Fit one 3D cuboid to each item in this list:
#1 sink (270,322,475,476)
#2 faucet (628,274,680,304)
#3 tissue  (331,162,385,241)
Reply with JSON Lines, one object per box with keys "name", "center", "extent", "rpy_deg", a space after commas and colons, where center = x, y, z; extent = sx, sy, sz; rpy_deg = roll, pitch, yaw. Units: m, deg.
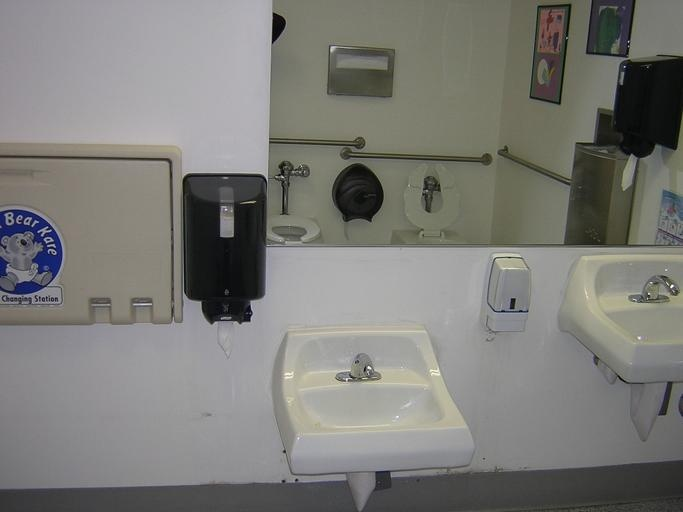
{"name": "sink", "center": [0.070, 0.402, 1.709], "extent": [0.535, 0.290, 0.383], "rpy_deg": [-2, 11, -6]}
{"name": "faucet", "center": [1.027, 0.104, 1.923], "extent": [0.076, 0.074, 0.160], "rpy_deg": [-1, 9, -1]}
{"name": "tissue ", "center": [0.048, -0.175, 1.808], "extent": [0.152, 0.228, 0.067], "rpy_deg": [1, 11, -11]}
